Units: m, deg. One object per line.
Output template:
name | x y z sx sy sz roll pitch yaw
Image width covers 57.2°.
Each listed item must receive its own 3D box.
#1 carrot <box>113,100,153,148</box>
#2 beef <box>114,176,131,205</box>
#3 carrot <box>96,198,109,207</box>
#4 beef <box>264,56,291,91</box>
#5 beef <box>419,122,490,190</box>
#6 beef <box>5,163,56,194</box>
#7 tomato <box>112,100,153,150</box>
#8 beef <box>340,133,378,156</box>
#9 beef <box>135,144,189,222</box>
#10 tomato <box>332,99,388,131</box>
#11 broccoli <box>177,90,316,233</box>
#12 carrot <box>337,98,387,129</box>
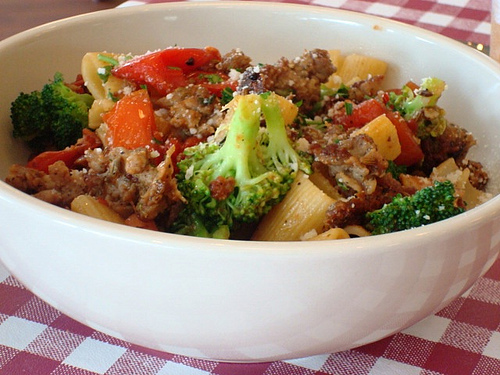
carrot | -0.302 -0.165 1.177 0.101 0.042 0.122 7 68 -2
beef | -0.298 0.014 1.050 0.015 0.049 0.047 1 68 -32
carrot | -0.342 0.035 1.069 0.018 0.014 0.018 56 24 15
beef | 0.082 -0.330 1.339 0.102 0.036 0.094 17 70 -27
beef | 0.545 -0.086 1.296 0.107 0.170 0.198 5 16 1
beef | -0.500 -0.028 1.117 0.137 0.061 0.144 -5 11 -33
tomato | -0.302 -0.157 1.184 0.093 0.050 0.134 0 61 4
beef | 0.235 -0.108 1.102 0.014 0.041 0.043 -6 39 -14
beef | -0.223 -0.020 1.084 0.178 0.148 0.116 -1 21 -32
tomato | 0.305 -0.200 1.260 0.146 0.081 0.089 -6 11 -26
broccoli | -0.026 -0.039 1.088 0.320 0.154 0.347 -14 75 -14
carrot | 0.312 -0.200 1.263 0.100 0.103 0.033 -33 96 -25
